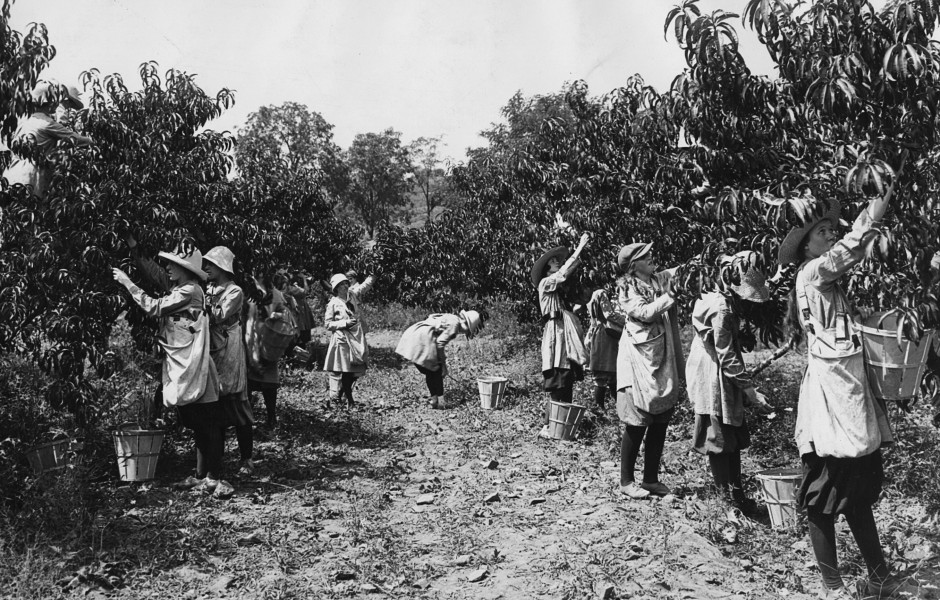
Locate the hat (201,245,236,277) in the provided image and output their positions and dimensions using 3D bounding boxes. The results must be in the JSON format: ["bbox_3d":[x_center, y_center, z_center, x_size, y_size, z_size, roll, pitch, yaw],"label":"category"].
[{"bbox_3d":[-2.913,-0.418,10.055,0.312,0.224,0.336,30,-3,-3],"label":"hat"}]

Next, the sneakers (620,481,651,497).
[{"bbox_3d":[1.768,2.027,9.279,0.228,0.105,0.142,4,6,32],"label":"sneakers"}]

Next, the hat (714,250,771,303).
[{"bbox_3d":[2.714,-0.233,8.575,0.397,0.585,0.890,2,8,26],"label":"hat"}]

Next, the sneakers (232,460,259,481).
[{"bbox_3d":[-2.673,2.037,10.246,0.203,0.261,0.248,-1,1,31],"label":"sneakers"}]

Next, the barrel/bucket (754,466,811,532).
[{"bbox_3d":[3.092,1.972,8.677,0.521,0.583,0.552,-1,1,0],"label":"barrel/bucket"}]

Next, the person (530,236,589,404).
[{"bbox_3d":[1.289,0.267,12.192,0.796,2.385,1.314,0,7,8],"label":"person"}]

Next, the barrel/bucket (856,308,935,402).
[{"bbox_3d":[3.662,0.484,7.708,0.676,0.788,0.727,2,-3,0],"label":"barrel/bucket"}]

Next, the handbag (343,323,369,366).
[{"bbox_3d":[-1.771,0.679,13.629,0.333,0.696,0.240,-6,13,19],"label":"handbag"}]

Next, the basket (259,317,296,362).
[{"bbox_3d":[-2.662,0.612,12.074,0.462,0.575,0.557,4,-17,29],"label":"basket"}]

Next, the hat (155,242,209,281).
[{"bbox_3d":[-3.201,-0.399,9.626,0.411,0.177,0.387,28,-11,-6],"label":"hat"}]

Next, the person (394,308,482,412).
[{"bbox_3d":[-0.505,0.924,14.060,1.279,1.563,1.090,-1,7,6],"label":"person"}]

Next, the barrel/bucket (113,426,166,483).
[{"bbox_3d":[-3.774,1.755,9.887,0.504,0.546,0.569,0,-6,3],"label":"barrel/bucket"}]

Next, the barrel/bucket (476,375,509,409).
[{"bbox_3d":[0.341,1.451,13.654,0.417,0.398,0.465,1,-4,4],"label":"barrel/bucket"}]

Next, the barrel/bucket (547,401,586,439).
[{"bbox_3d":[1.288,1.605,11.561,0.439,0.386,0.458,5,-6,1],"label":"barrel/bucket"}]

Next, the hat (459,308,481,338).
[{"bbox_3d":[0.093,0.409,13.602,0.146,0.435,0.340,-17,30,-26],"label":"hat"}]
